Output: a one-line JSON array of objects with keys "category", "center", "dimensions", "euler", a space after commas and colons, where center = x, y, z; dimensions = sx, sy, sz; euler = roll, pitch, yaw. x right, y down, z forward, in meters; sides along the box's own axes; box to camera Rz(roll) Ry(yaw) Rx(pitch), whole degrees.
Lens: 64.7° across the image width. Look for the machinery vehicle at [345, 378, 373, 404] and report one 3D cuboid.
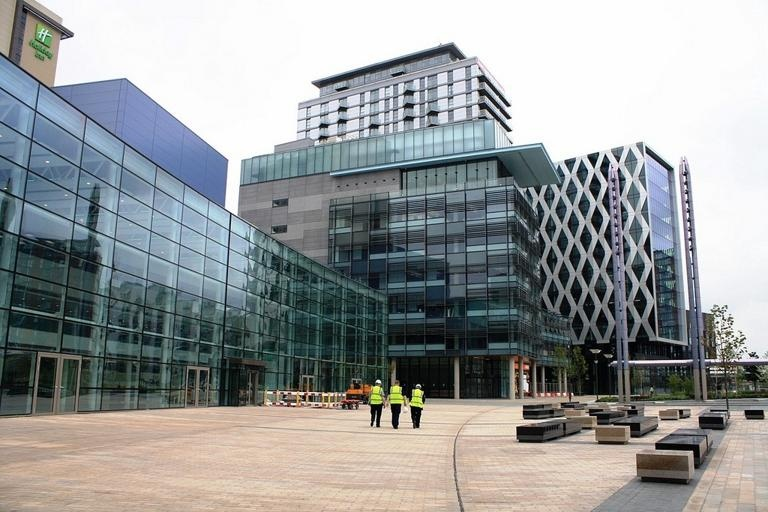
[{"category": "machinery vehicle", "center": [-2.434, 11.502, 52.162], "dimensions": [1.753, 1.363, 2.923], "euler": [-2, -18, 8]}]
